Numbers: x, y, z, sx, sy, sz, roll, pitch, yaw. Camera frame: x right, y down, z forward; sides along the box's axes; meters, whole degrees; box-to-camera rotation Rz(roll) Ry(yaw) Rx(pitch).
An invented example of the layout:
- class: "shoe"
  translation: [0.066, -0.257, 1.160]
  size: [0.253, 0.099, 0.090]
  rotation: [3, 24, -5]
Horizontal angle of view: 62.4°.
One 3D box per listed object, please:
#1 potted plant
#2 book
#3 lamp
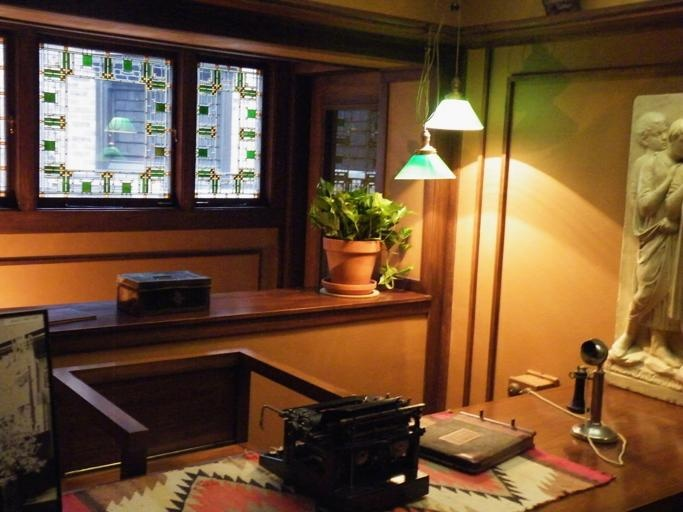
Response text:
- class: "potted plant"
  translation: [0.019, -0.118, 3.449]
  size: [0.729, 0.613, 0.663]
  rotation: [2, 0, -6]
- class: "book"
  translation: [0.395, 0.593, 1.841]
  size: [0.252, 0.047, 0.261]
  rotation: [7, 9, 44]
- class: "lamp"
  translation: [0.592, -0.891, 3.101]
  size: [0.469, 1.050, 0.633]
  rotation: [7, 14, 6]
